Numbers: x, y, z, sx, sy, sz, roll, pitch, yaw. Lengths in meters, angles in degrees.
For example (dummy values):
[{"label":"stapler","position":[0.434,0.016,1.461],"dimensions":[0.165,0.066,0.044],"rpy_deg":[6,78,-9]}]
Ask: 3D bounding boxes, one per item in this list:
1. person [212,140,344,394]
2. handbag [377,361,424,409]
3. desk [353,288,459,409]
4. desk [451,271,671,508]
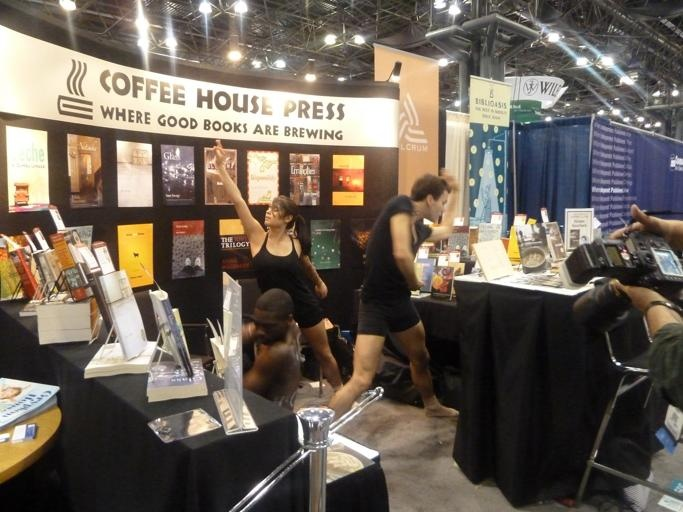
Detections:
[{"label":"person","position":[-0.452,0.257,3.827],"dimensions":[0.625,2.393,0.349],"rpy_deg":[-11,16,0]},{"label":"handbag","position":[0.483,1.083,4.081],"dimensions":[0.249,0.379,0.129],"rpy_deg":[4,-8,32]},{"label":"desk","position":[0.676,0.830,4.050],"dimensions":[0.851,0.544,0.844],"rpy_deg":[17,-17,-35]},{"label":"desk","position":[1.180,0.756,3.227],"dimensions":[1.176,1.470,1.176],"rpy_deg":[0,-1,-20]}]
